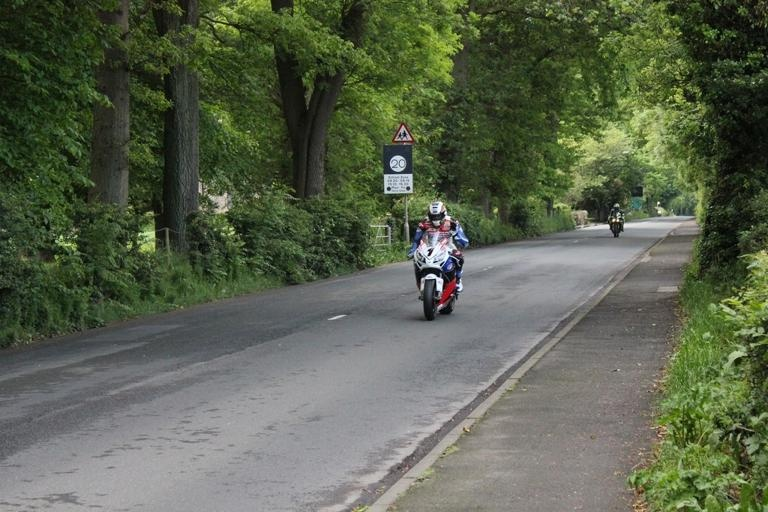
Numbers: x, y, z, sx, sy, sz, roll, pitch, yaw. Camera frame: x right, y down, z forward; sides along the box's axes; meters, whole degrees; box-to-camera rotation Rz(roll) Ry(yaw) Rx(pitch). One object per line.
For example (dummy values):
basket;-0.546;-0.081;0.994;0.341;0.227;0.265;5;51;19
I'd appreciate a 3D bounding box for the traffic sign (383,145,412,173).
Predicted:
traffic sign;0.633;-4.454;36.183;1.236;1.244;0.124;0;15;3

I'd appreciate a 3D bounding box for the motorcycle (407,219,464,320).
motorcycle;1.170;0.280;17.836;0.963;1.641;1.475;-4;2;21

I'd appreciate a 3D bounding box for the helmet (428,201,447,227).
helmet;1.216;-1.020;18.296;0.431;0.498;0.544;-3;28;17
